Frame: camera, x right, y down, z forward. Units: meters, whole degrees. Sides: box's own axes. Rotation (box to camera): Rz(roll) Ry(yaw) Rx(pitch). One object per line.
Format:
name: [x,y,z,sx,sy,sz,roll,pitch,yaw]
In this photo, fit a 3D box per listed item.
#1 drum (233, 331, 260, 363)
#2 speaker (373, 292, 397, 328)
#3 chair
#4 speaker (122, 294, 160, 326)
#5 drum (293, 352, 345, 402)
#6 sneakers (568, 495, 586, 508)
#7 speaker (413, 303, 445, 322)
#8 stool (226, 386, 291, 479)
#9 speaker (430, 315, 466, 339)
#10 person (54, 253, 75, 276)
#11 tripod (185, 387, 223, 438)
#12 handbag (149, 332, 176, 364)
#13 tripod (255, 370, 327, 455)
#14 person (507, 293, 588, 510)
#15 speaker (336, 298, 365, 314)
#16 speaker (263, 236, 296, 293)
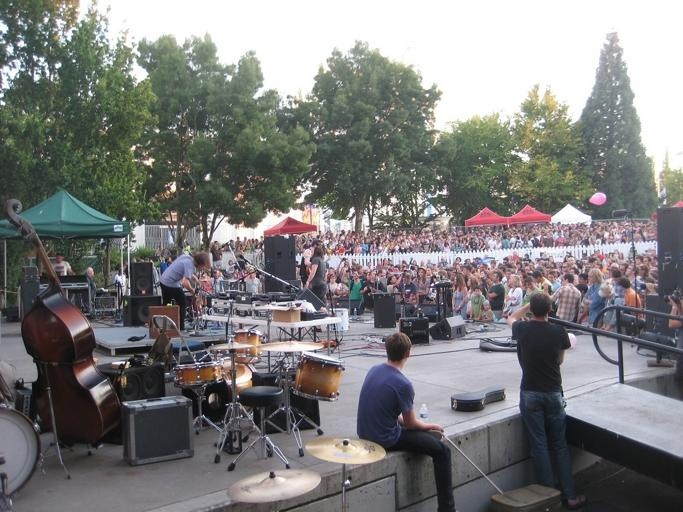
drum: [-1.349,1.279,9.971,0.398,0.423,0.430,-2,-6,6]
speaker: [1.081,1.263,16.279,0.663,1.019,0.506,1,4,6]
chair: [-2.322,1.193,9.962,0.529,0.831,0.799,7,5,37]
speaker: [-4.188,1.094,14.556,0.765,0.841,0.583,0,1,-25]
drum: [-0.250,1.465,8.873,0.541,0.452,0.578,14,-1,0]
sneakers: [3.194,3.273,9.317,0.315,0.127,0.119,-10,16,-27]
speaker: [2.178,1.270,16.075,0.394,0.387,0.533,-2,-2,21]
stool: [-0.944,2.071,8.618,0.760,0.925,1.050,0,0,3]
speaker: [2.373,1.592,15.110,0.628,0.453,0.450,9,-18,-43]
person: [-8.424,0.235,21.075,0.604,1.095,0.300,-3,-10,-21]
tripod: [-1.908,2.055,9.318,0.585,0.849,0.680,1,-4,-5]
handbag: [-2.501,1.194,9.813,0.312,0.670,0.520,-1,1,-30]
tripod: [-0.639,2.031,9.346,0.839,0.909,0.847,2,1,37]
person: [2.742,1.906,9.208,0.885,2.868,0.501,0,0,5]
speaker: [0.329,1.387,19.678,0.447,0.338,0.644,0,0,-4]
speaker: [-1.391,0.175,16.306,0.747,1.301,0.913,0,0,-8]
